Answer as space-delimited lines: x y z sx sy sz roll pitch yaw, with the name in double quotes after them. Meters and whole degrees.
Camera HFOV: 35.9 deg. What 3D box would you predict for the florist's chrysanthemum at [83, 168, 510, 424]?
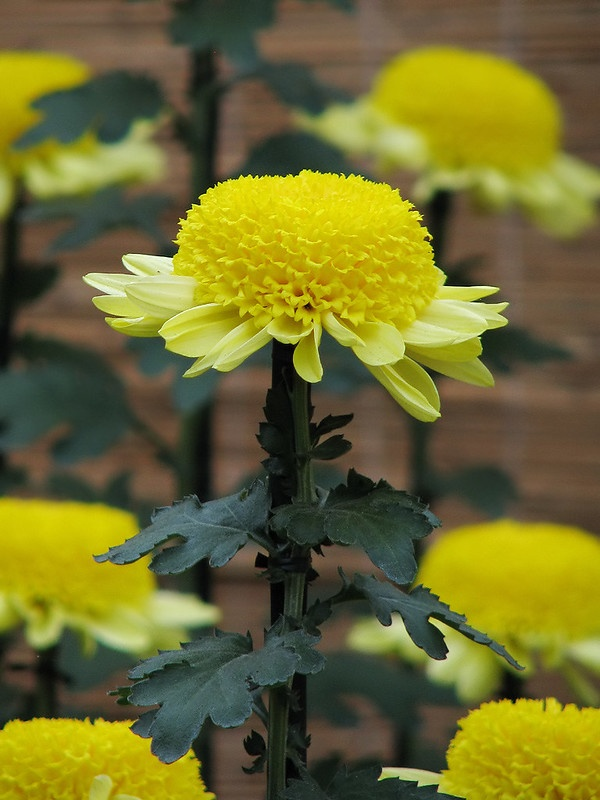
-0.008 -0.059 0.522 0.245 0.116 0.156 4 39 9 "florist's chrysanthemum"
